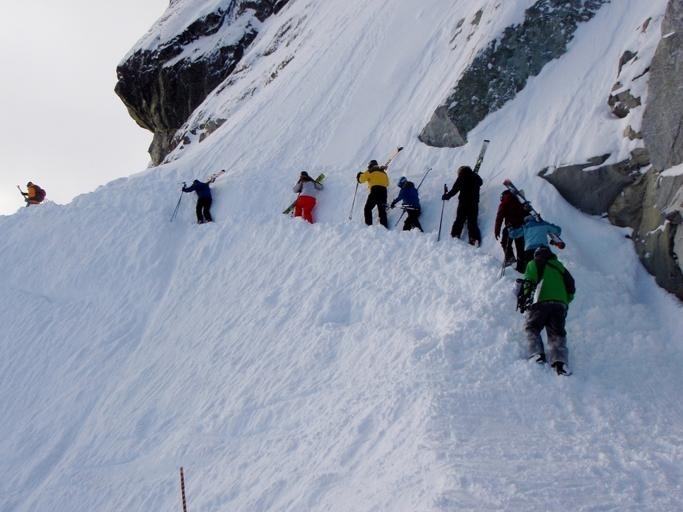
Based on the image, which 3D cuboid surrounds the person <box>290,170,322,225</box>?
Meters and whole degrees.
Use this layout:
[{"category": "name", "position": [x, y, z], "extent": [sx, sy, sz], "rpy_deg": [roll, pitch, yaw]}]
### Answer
[{"category": "person", "position": [-1.106, -1.855, 35.949], "extent": [0.883, 1.784, 0.968], "rpy_deg": [-1, -9, -9]}]

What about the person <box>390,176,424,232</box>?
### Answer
[{"category": "person", "position": [2.078, -1.498, 34.476], "extent": [0.915, 1.832, 1.083], "rpy_deg": [-3, -9, 5]}]

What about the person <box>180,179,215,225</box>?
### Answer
[{"category": "person", "position": [-4.783, -1.719, 37.292], "extent": [0.907, 1.594, 0.892], "rpy_deg": [-2, -9, 0]}]

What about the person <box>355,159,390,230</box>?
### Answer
[{"category": "person", "position": [1.007, -1.782, 35.050], "extent": [0.865, 2.304, 0.869], "rpy_deg": [22, -51, -17]}]

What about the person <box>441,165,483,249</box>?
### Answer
[{"category": "person", "position": [3.762, -1.336, 33.784], "extent": [0.910, 2.549, 0.861], "rpy_deg": [12, -24, -13]}]
